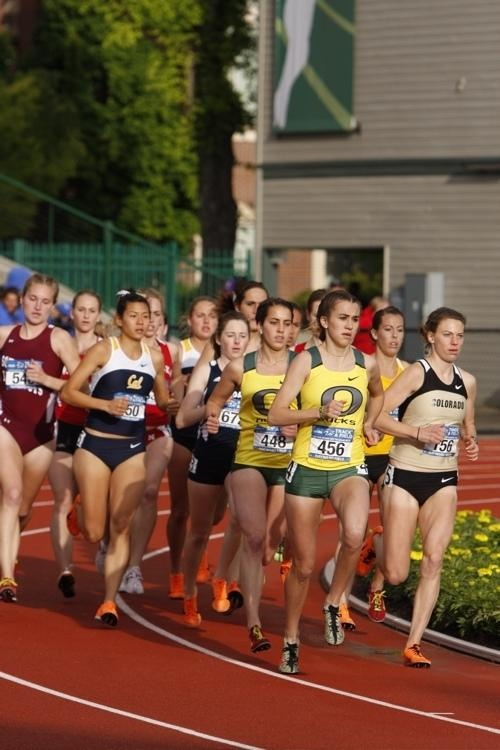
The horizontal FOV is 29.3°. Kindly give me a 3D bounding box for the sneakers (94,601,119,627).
[{"bbox_3d":[-0.840,1.379,5.525,0.111,0.127,0.300,13,4,-12],"label":"sneakers"}]

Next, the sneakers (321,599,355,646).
[{"bbox_3d":[0.438,1.321,4.969,0.119,0.163,0.358,-2,44,-1],"label":"sneakers"}]

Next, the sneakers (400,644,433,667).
[{"bbox_3d":[0.874,1.488,5.035,0.082,0.093,0.215,4,-10,-13],"label":"sneakers"}]

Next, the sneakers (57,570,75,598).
[{"bbox_3d":[-1.217,1.401,6.360,0.108,0.223,0.159,-7,25,-12],"label":"sneakers"}]

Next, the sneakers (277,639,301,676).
[{"bbox_3d":[0.194,1.409,4.769,0.082,0.101,0.223,2,8,-2],"label":"sneakers"}]

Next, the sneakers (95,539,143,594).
[{"bbox_3d":[-0.949,1.426,6.895,0.216,0.274,0.639,2,-4,-13],"label":"sneakers"}]

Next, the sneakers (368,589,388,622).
[{"bbox_3d":[0.832,1.507,6.291,0.104,0.112,0.270,-1,21,-3],"label":"sneakers"}]
